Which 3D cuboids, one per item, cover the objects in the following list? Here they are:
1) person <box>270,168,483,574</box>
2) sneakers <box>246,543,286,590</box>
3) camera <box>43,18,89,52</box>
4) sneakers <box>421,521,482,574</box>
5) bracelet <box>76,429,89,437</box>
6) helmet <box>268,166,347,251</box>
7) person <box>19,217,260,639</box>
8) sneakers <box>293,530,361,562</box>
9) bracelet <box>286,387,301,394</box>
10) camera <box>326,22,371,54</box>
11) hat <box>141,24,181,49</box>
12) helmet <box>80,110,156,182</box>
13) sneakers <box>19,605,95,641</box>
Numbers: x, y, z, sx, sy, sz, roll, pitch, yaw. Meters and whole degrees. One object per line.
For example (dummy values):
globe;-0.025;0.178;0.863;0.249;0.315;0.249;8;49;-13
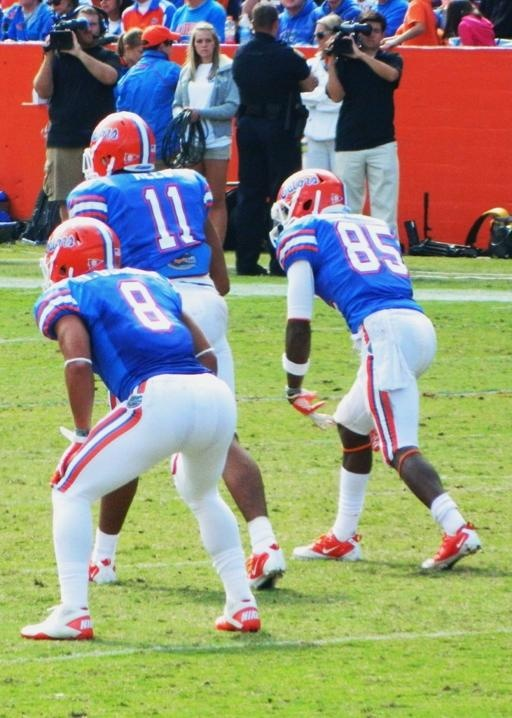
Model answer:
person;0.424;0.104;4.863;0.663;1.295;0.865;0;7;-2
sneakers;0.023;0.716;4.399;0.086;0.099;0.207;-25;-18;-23
camera;-1.473;-2.540;10.065;0.210;0.162;0.365;-1;7;0
sneakers;0.691;0.671;4.577;0.235;0.104;0.080;-34;-20;25
bracelet;-0.522;0.224;3.887;0.028;0.017;0.026;1;5;5
helmet;0.198;-0.636;5.517;0.389;0.353;0.296;-3;-4;20
person;-0.365;0.285;3.881;0.703;1.085;0.459;-2;8;-12
sneakers;0.288;0.717;4.896;0.280;0.105;0.095;2;-4;8
bracelet;0.149;0.125;5.145;0.039;0.020;0.029;-2;2;11
camera;0.736;-2.522;10.132;0.338;0.258;0.384;0;7;3
hat;-0.727;-2.544;10.150;0.292;0.137;0.168;-20;40;-23
helmet;-0.533;-0.841;5.091;0.318;0.243;0.232;2;9;31
sneakers;-0.553;0.769;3.742;0.243;0.094;0.083;-2;-20;16
